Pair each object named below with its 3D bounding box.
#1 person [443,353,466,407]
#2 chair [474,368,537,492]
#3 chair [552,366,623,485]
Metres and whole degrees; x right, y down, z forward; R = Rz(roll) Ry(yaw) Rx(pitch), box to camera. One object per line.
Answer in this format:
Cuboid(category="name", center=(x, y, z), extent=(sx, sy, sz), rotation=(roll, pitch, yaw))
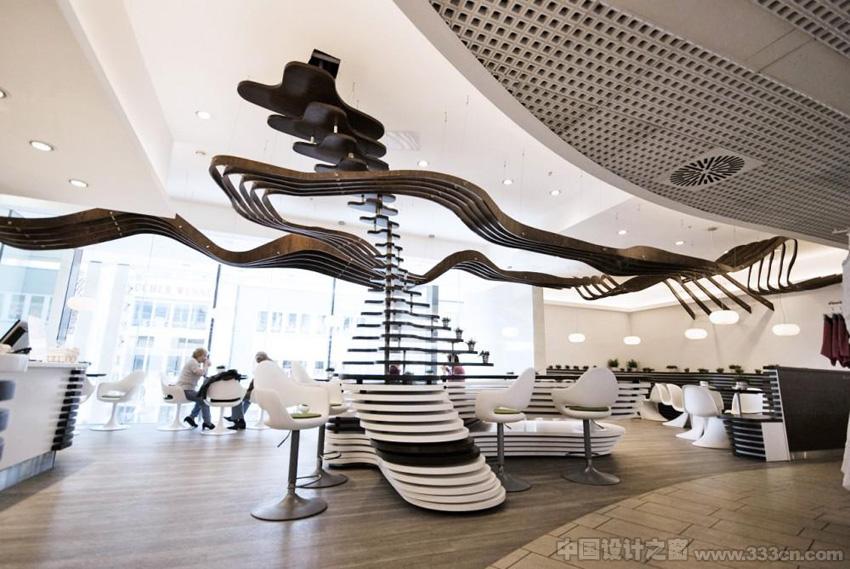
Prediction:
Cuboid(category="person", center=(0.503, 1.510, 7.692), extent=(0.312, 0.866, 0.328), rotation=(4, 7, 31))
Cuboid(category="chair", center=(1.065, 2.025, 6.825), extent=(1.052, 1.529, 0.963), rotation=(-3, -12, 9))
Cuboid(category="chair", center=(2.443, 1.988, 7.059), extent=(0.845, 1.608, 1.033), rotation=(0, -2, 35))
